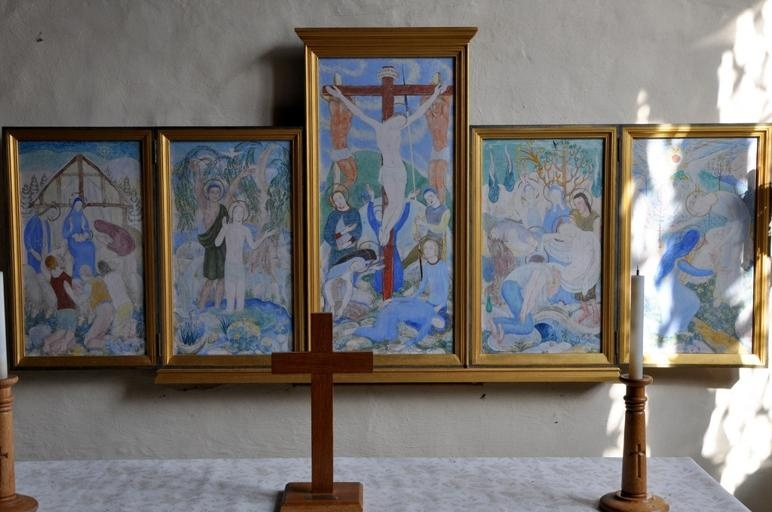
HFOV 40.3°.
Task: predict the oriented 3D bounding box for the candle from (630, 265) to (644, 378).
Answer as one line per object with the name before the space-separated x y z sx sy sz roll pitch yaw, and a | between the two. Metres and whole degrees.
candle | 0.947 0.258 4.012 0.055 0.405 0.134 2 4 13
